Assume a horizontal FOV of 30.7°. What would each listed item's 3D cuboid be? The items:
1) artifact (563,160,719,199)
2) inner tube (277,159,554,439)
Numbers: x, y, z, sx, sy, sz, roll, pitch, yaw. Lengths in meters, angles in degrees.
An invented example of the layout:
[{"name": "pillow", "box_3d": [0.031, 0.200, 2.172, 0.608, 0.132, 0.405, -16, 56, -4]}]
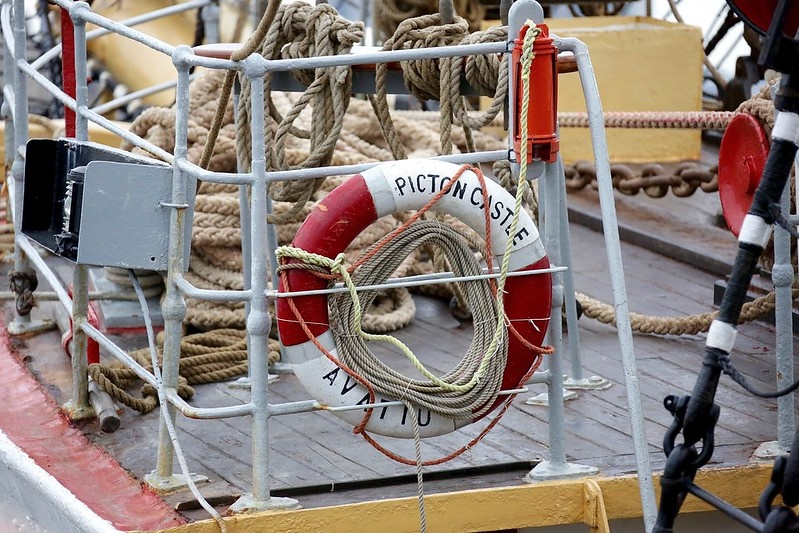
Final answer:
[{"name": "artifact", "box_3d": [1.470, -0.485, 8.552, 1.192, 0.230, 0.222, 5, 5, 40]}, {"name": "inner tube", "box_3d": [0.033, 0.147, 6.101, 1.228, 1.179, 0.279, 7, -1, -11]}]
